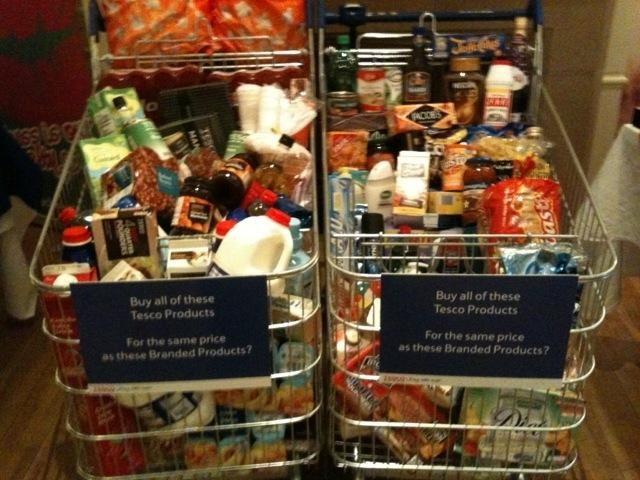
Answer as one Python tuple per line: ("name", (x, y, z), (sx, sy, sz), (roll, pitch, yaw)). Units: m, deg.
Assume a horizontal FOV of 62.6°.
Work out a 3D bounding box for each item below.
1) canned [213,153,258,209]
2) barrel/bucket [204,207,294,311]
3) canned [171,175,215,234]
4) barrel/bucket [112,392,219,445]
("canned", (-0.265, -0.179, 1.662), (0.111, 0.111, 0.180), (23, 21, -3))
("barrel/bucket", (-0.183, 0.026, 1.382), (0.226, 0.149, 0.150), (-7, 32, -7))
("canned", (-0.386, -0.102, 1.595), (0.112, 0.125, 0.167), (0, 32, 4))
("barrel/bucket", (-0.409, 0.461, 1.393), (0.232, 0.081, 0.143), (2, 31, -10))
